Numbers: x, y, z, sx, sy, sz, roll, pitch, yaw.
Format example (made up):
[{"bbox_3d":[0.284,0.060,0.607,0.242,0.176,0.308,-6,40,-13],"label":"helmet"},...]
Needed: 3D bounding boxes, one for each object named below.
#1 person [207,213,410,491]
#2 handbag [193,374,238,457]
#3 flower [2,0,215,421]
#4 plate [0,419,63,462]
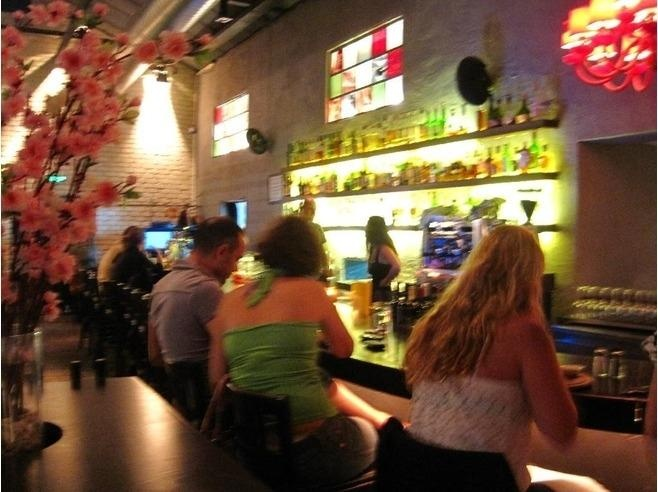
[{"bbox_3d":[-0.078,0.327,2.204,0.883,1.187,0.939,4,7,24],"label":"person"},{"bbox_3d":[-0.422,0.640,1.911,0.125,0.088,0.438,-21,-27,-18],"label":"handbag"},{"bbox_3d":[-0.607,-0.189,1.332,0.464,0.855,0.281,1,6,-14],"label":"flower"},{"bbox_3d":[-0.795,0.521,1.360,0.101,0.022,0.101,3,-1,0],"label":"plate"}]
